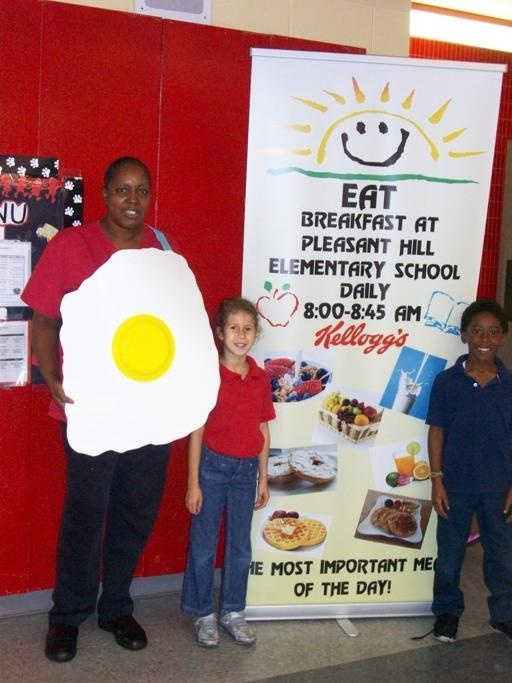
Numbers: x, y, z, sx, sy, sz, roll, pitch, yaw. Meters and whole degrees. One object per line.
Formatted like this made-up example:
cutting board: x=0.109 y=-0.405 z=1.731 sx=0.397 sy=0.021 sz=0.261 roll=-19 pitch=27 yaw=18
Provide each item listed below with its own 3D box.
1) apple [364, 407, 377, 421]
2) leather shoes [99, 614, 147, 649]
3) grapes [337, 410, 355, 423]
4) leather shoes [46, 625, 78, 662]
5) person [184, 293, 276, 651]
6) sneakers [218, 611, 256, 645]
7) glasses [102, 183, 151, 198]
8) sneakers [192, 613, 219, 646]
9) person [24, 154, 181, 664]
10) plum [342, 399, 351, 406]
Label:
apple: x=0.391 y=0.246 z=2.010 sx=0.053 sy=0.044 sz=0.048 roll=-4 pitch=-4 yaw=-21
leather shoes: x=-0.421 y=0.931 z=1.932 sx=0.183 sy=0.064 sz=0.066 roll=3 pitch=3 yaw=40
grapes: x=0.303 y=0.253 z=1.993 sx=0.059 sy=0.037 sz=0.029 roll=-11 pitch=-3 yaw=-28
leather shoes: x=-0.585 y=0.923 z=1.819 sx=0.058 sy=0.046 sz=0.125 roll=5 pitch=5 yaw=-21
person: x=-0.086 y=0.430 z=1.914 sx=0.266 sy=0.855 sz=0.152 roll=4 pitch=1 yaw=1
sneakers: x=-0.064 y=0.941 z=1.968 sx=0.063 sy=0.062 sz=0.154 roll=20 pitch=-3 yaw=-37
glasses: x=-0.363 y=-0.427 z=1.682 sx=0.121 sy=0.032 sz=0.050 roll=2 pitch=1 yaw=-12
sneakers: x=-0.168 y=0.939 z=1.935 sx=0.051 sy=0.051 sz=0.124 roll=11 pitch=5 yaw=-19
person: x=-0.488 y=0.224 z=1.789 sx=0.340 sy=0.993 sz=0.433 roll=5 pitch=2 yaw=39
plum: x=0.303 y=0.206 z=1.989 sx=0.023 sy=0.023 sz=0.014 roll=2 pitch=-5 yaw=1
